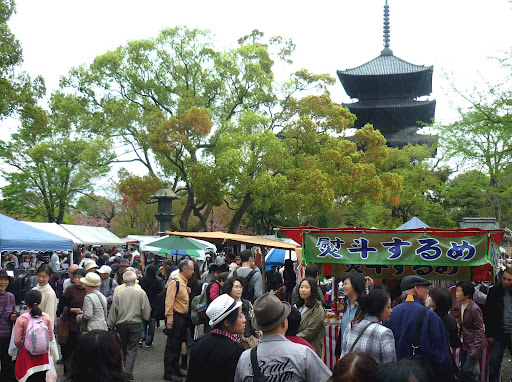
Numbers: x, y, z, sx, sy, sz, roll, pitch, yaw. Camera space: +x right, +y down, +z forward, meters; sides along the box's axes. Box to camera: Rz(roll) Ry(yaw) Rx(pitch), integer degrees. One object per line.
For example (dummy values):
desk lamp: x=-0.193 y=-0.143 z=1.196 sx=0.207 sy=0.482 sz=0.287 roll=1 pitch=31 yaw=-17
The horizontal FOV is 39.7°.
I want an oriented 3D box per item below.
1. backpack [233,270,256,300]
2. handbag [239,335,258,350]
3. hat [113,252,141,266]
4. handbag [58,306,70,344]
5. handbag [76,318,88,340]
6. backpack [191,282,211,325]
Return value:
backpack: x=-0.219 y=1.761 z=14.178 sx=0.252 sy=0.452 sz=0.303 roll=17 pitch=-10 yaw=-21
handbag: x=-0.145 y=2.633 z=12.365 sx=0.349 sy=0.138 sz=0.346 roll=0 pitch=-4 yaw=5
hat: x=-3.604 y=1.898 z=19.894 sx=0.666 sy=0.184 sz=0.635 roll=-6 pitch=-3 yaw=-16
handbag: x=-3.682 y=2.588 z=13.566 sx=0.213 sy=0.777 sz=0.644 roll=5 pitch=-9 yaw=-18
handbag: x=-3.310 y=2.597 z=13.437 sx=0.140 sy=0.342 sz=0.390 roll=7 pitch=-10 yaw=-27
backpack: x=-1.068 y=2.170 z=13.461 sx=0.367 sy=0.777 sz=0.629 roll=0 pitch=-36 yaw=1
